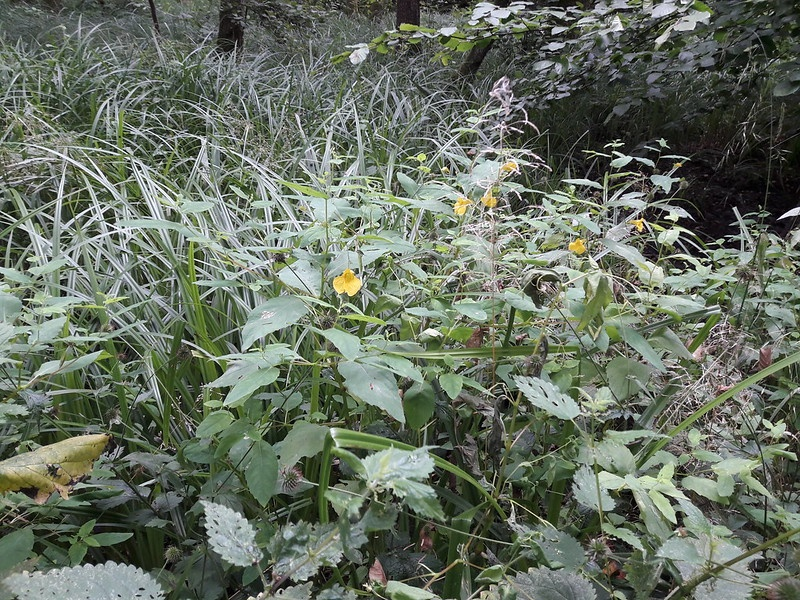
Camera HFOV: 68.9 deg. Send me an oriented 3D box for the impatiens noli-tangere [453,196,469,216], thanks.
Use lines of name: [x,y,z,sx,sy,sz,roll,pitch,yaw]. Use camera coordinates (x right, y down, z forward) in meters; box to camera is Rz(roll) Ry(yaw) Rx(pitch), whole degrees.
impatiens noli-tangere: [0.195,-0.292,1.833,0.058,0.066,0.026,15,21,7]

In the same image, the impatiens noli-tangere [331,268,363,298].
impatiens noli-tangere: [-0.147,-0.047,1.642,0.071,0.019,0.078,1,65,-1]
